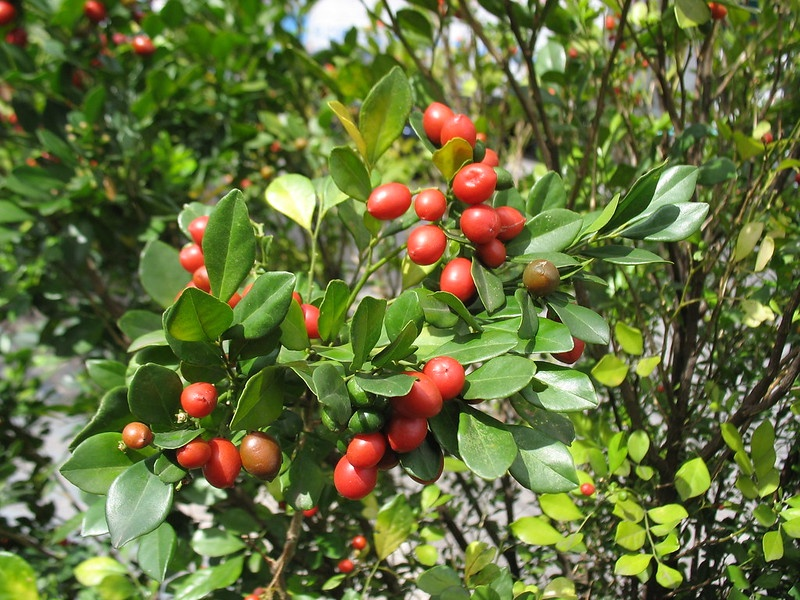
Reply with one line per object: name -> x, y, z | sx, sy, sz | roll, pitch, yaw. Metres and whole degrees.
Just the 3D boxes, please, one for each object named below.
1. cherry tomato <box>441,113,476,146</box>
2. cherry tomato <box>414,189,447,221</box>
cherry tomato -> 0.138, -0.404, 1.783 | 0.060, 0.076, 0.061 | 26, 51, 9
cherry tomato -> 0.073, -0.228, 1.791 | 0.052, 0.051, 0.060 | -36, -21, -21
